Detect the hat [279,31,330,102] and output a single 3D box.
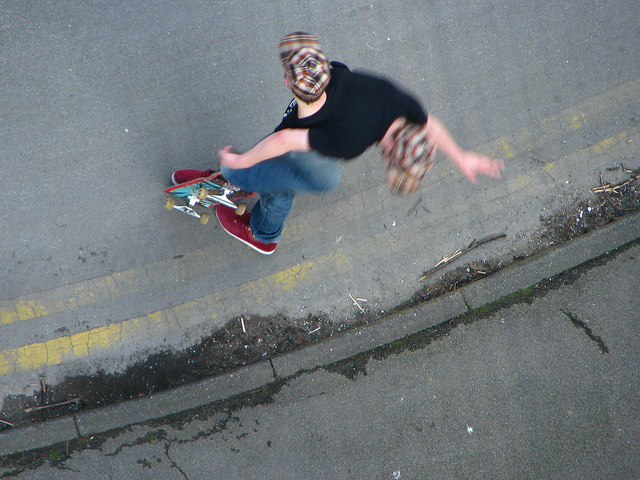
[{"bbox_3d":[-0.152,-1.783,7.695,0.442,0.709,0.216,-17,4,-1],"label":"hat"}]
